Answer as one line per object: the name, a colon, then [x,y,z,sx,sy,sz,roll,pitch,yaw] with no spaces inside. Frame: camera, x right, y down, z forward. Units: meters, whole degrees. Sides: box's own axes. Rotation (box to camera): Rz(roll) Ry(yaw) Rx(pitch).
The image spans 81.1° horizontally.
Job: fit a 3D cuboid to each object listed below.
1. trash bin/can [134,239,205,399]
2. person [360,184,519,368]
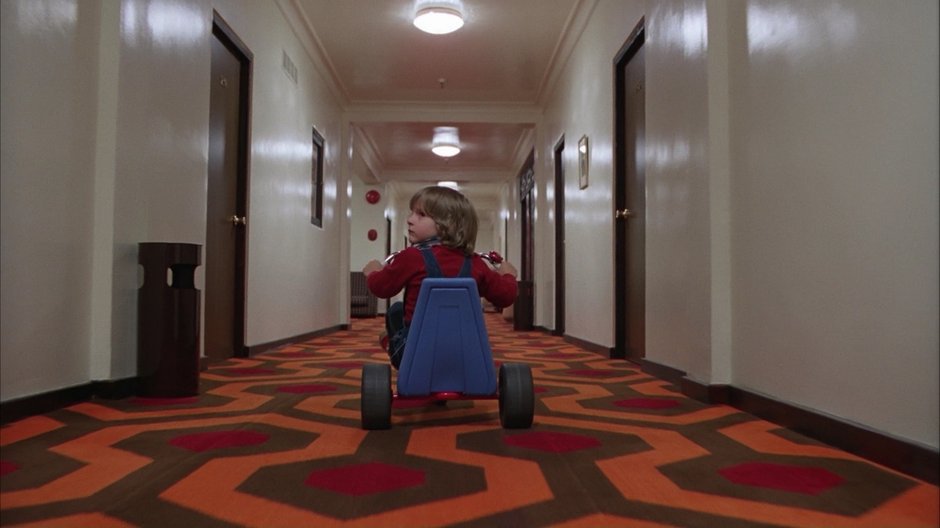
trash bin/can: [-2.075,0.371,3.713,0.394,1.009,0.276,-1,10,-9]
person: [-0.171,0.092,3.424,1.020,1.072,0.816,6,-3,14]
